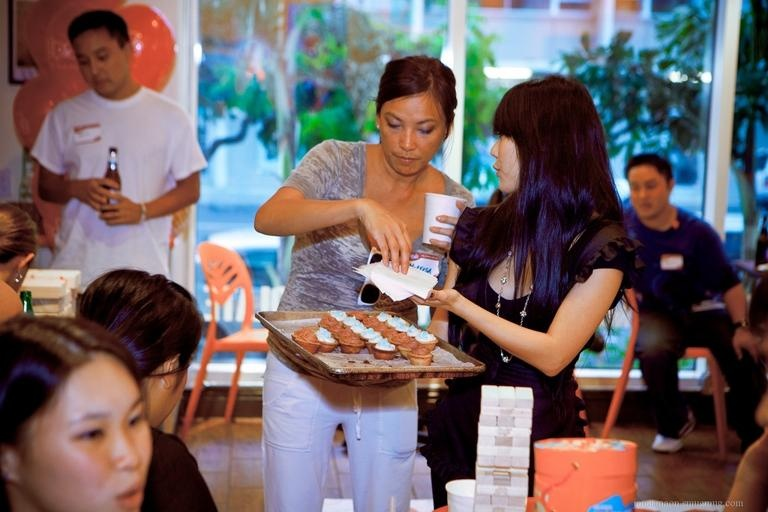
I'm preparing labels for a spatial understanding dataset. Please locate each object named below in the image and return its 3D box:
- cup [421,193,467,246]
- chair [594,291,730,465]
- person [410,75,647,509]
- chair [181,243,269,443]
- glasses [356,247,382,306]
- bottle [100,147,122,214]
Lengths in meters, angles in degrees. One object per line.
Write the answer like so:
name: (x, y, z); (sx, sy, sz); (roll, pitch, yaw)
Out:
cup: (0.216, -0.141, 2.630); (0.187, 0.185, 0.171); (9, 3, 0)
chair: (2.069, 0.766, 4.866); (0.837, 1.263, 0.839); (1, -11, 33)
person: (0.505, 0.146, 2.381); (0.694, 1.538, 0.565); (2, 3, 6)
chair: (-0.913, 0.583, 4.695); (0.780, 1.302, 0.773); (2, 0, 0)
glasses: (-0.037, 0.090, 2.600); (0.046, 0.195, 0.118); (18, 7, 43)
bottle: (-1.535, -0.491, 3.846); (0.091, 0.250, 0.029); (0, 4, -21)
